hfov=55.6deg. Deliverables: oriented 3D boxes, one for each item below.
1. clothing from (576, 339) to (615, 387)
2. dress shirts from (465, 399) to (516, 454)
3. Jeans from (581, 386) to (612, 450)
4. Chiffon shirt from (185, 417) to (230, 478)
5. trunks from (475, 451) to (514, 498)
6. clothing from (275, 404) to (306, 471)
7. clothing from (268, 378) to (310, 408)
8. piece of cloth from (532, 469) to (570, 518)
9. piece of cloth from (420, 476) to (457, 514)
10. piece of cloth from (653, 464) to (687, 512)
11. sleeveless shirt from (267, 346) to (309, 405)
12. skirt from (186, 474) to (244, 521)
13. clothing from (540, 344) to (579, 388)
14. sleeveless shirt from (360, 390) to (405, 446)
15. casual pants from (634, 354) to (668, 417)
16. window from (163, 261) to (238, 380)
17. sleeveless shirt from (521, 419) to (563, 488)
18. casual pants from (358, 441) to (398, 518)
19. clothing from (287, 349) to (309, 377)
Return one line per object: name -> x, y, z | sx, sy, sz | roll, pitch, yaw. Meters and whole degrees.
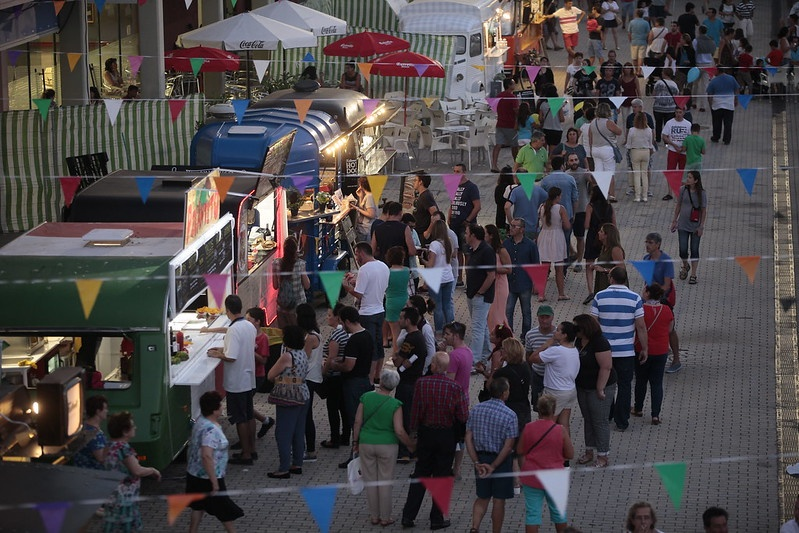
clothing -> 2.381, 1.126, 9.120 | 0.495, 0.619, 0.583 | -1, 1, -7
dress shirts -> 0.971, 1.691, 7.961 | 0.566, 0.589, 0.315 | 5, -3, 20
Jeans -> 2.399, 1.890, 9.249 | 0.479, 0.850, 0.256 | -3, 7, -18
Chiffon shirt -> -2.043, 1.892, 8.085 | 0.479, 0.769, 0.758 | 0, 6, -8
trunks -> 0.987, 2.198, 8.020 | 0.367, 0.547, 0.288 | 5, 17, 12
clothing -> -1.266, 2.034, 9.041 | 0.278, 0.835, 0.385 | 3, 8, 26
clothing -> -1.283, 1.486, 8.848 | 0.467, 0.364, 0.284 | 1, -5, -4
piece of cloth -> 1.504, 2.270, 7.566 | 0.313, 0.621, 0.337 | 0, 7, 10
piece of cloth -> 0.381, 2.321, 7.651 | 0.303, 0.429, 0.213 | -1, 7, 1
piece of cloth -> 2.579, 2.117, 7.234 | 0.210, 0.552, 0.400 | 3, 8, 27
sleeveless shirt -> -1.264, 1.338, 9.020 | 0.473, 0.630, 0.445 | 9, -11, -27
skirt -> -1.944, 2.453, 7.958 | 0.604, 0.651, 0.362 | -1, 45, 9
clothing -> 1.942, 1.175, 9.090 | 0.365, 0.548, 0.558 | 7, 10, 32
sleeveless shirt -> -0.204, 1.623, 8.240 | 0.442, 0.573, 0.314 | 4, 8, 0
casual pants -> 3.311, 1.573, 10.099 | 0.383, 0.917, 0.522 | 1, 8, 17
window -> -2.443, 0.703, 9.303 | 0.810, 1.331, 1.344 | 2, 9, 7
sleeveless shirt -> 1.505, 1.925, 7.947 | 0.537, 0.787, 0.419 | 1, 19, 13
casual pants -> -0.236, 2.281, 8.323 | 0.378, 0.996, 0.302 | -2, 7, 1
clothing -> -1.187, 1.129, 8.856 | 0.295, 0.439, 0.219 | -2, 6, -12
